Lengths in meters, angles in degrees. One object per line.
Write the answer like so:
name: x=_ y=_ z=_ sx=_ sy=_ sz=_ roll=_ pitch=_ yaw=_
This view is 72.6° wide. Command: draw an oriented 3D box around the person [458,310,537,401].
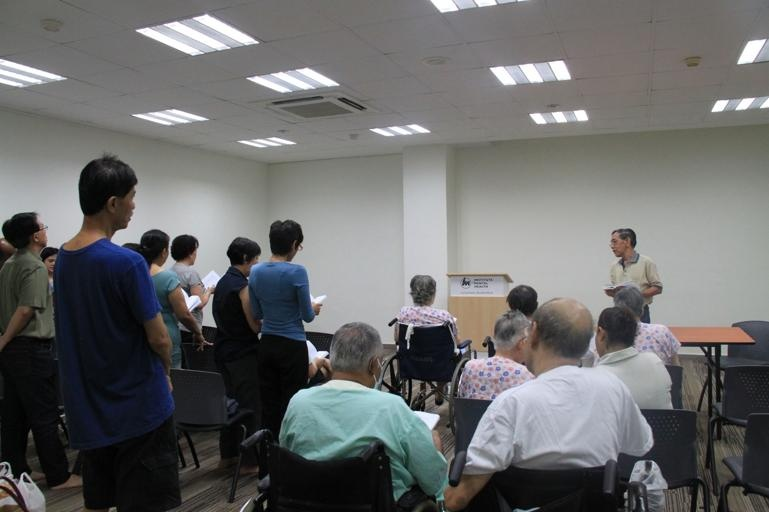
person: x=0.874 y=0.731 z=3.991 sx=0.464 sy=0.860 sz=0.644 roll=1 pitch=13 yaw=27

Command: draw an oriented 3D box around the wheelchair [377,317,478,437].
wheelchair: x=0.472 y=1.174 z=6.285 sx=0.879 sy=1.302 sz=1.330 roll=4 pitch=10 yaw=25

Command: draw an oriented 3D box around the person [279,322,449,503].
person: x=-0.023 y=0.830 z=3.311 sx=0.712 sy=0.953 sz=1.102 roll=4 pitch=6 yaw=13

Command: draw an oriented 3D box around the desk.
desk: x=3.708 y=1.019 z=5.911 sx=1.020 sy=1.015 sz=1.045 roll=-2 pitch=-3 yaw=38

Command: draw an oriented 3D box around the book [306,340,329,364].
book: x=-0.649 y=0.900 z=4.905 sx=0.232 sy=0.284 sz=0.159 roll=-4 pitch=-4 yaw=32
